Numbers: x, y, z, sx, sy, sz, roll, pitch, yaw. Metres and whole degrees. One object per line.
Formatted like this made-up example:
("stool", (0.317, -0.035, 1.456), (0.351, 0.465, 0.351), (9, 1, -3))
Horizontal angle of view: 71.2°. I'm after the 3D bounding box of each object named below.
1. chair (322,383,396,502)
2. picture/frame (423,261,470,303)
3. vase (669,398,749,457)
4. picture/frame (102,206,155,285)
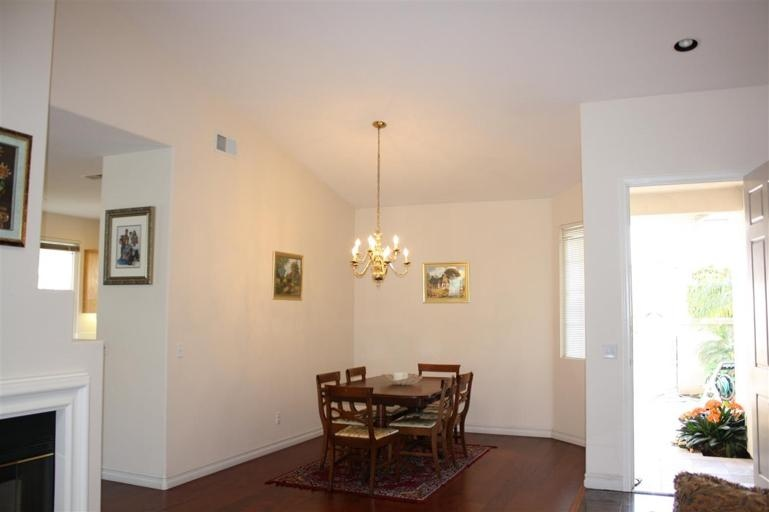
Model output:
("chair", (-0.305, 2.056, 6.239), (0.797, 1.154, 0.723), (-2, -4, 22))
("picture/frame", (1.067, 0.437, 8.903), (0.678, 0.588, 0.061), (1, -1, 17))
("vase", (4.401, 2.260, 7.177), (0.709, 0.398, 0.697), (4, -10, -44))
("picture/frame", (-3.002, -0.106, 6.381), (0.910, 1.073, 0.077), (-2, -6, 24))
